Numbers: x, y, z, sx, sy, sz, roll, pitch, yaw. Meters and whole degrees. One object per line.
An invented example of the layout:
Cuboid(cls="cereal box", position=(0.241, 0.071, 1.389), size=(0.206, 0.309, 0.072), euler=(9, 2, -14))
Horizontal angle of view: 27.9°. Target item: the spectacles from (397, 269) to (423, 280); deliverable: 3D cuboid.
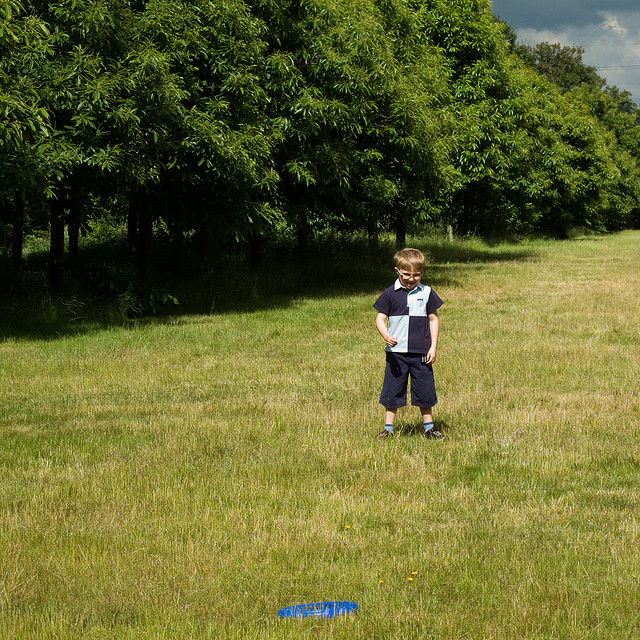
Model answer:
Cuboid(cls="spectacles", position=(0.885, -0.461, 12.994), size=(0.225, 0.099, 0.103), euler=(2, 9, 17))

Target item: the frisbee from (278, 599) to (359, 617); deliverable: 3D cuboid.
Cuboid(cls="frisbee", position=(0.002, 2.376, 10.610), size=(0.330, 0.051, 0.270), euler=(-2, 3, -12))

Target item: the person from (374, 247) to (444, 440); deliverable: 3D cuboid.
Cuboid(cls="person", position=(0.924, 0.264, 13.079), size=(0.663, 2.094, 0.635), euler=(-6, 22, -8))
